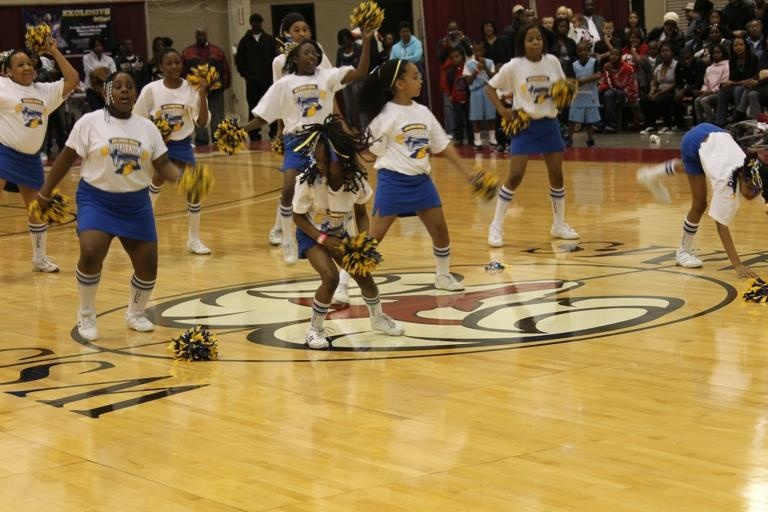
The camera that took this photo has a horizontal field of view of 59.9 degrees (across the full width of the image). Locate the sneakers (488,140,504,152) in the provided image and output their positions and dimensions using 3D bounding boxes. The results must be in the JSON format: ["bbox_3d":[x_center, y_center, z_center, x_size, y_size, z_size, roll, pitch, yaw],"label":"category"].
[{"bbox_3d":[2.454,-2.343,14.369,0.383,0.152,0.141,0,8,-43],"label":"sneakers"}]

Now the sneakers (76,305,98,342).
[{"bbox_3d":[-2.332,0.546,5.249,0.127,0.137,0.322,-13,51,-17],"label":"sneakers"}]

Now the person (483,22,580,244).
[{"bbox_3d":[1.769,-1.413,7.841,1.072,2.565,0.675,0,10,1],"label":"person"}]

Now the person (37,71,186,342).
[{"bbox_3d":[-2.124,-0.395,5.270,1.116,2.069,0.560,-2,10,-7],"label":"person"}]

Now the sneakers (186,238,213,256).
[{"bbox_3d":[-2.246,-0.110,8.100,0.306,0.117,0.151,4,13,42],"label":"sneakers"}]

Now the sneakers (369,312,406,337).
[{"bbox_3d":[0.039,0.515,5.167,0.276,0.124,0.139,17,50,27],"label":"sneakers"}]

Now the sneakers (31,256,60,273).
[{"bbox_3d":[-3.815,0.097,7.560,0.351,0.141,0.143,3,11,10],"label":"sneakers"}]

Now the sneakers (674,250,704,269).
[{"bbox_3d":[3.006,0.037,6.609,0.136,0.123,0.291,-6,6,-38],"label":"sneakers"}]

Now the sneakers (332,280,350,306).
[{"bbox_3d":[-0.375,0.360,6.021,0.100,0.111,0.280,10,13,-4],"label":"sneakers"}]

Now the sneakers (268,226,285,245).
[{"bbox_3d":[-1.350,-0.240,8.381,0.138,0.154,0.377,-1,2,-13],"label":"sneakers"}]

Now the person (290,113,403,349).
[{"bbox_3d":[-0.313,-0.168,4.920,0.706,1.666,0.513,0,10,4],"label":"person"}]

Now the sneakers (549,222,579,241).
[{"bbox_3d":[2.171,-0.295,8.029,0.387,0.142,0.144,6,9,41],"label":"sneakers"}]

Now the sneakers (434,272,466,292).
[{"bbox_3d":[0.627,0.253,6.268,0.277,0.101,0.146,4,9,44],"label":"sneakers"}]

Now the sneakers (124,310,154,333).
[{"bbox_3d":[-2.005,0.540,5.473,0.257,0.102,0.126,2,11,42],"label":"sneakers"}]
